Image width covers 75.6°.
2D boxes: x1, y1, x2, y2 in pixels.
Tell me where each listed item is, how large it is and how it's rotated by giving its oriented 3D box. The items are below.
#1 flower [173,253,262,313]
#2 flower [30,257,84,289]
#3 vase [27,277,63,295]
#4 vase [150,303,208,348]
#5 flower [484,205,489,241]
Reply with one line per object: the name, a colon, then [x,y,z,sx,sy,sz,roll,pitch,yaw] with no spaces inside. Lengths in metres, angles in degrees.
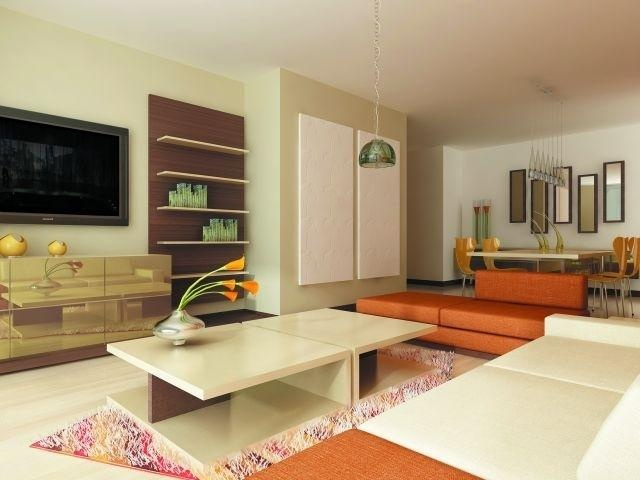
flower: [-1.206,0.490,4.765,0.586,0.570,0.823,3,4,30]
flower: [-2.310,0.300,3.674,0.278,0.211,0.242,-3,-4,23]
vase: [-2.357,0.406,3.616,0.156,0.108,0.153,1,-2,-28]
vase: [-0.909,0.550,2.687,0.263,0.182,0.255,0,-1,-5]
flower: [3.612,-0.413,9.077,0.156,0.700,0.141,1,5,19]
